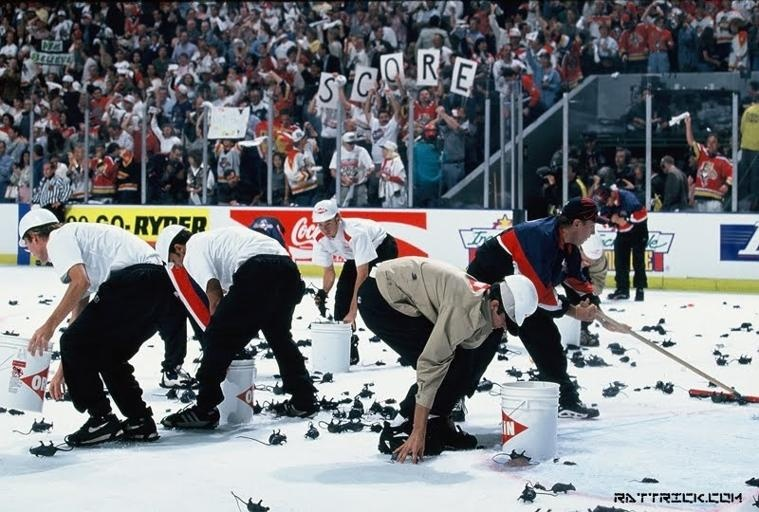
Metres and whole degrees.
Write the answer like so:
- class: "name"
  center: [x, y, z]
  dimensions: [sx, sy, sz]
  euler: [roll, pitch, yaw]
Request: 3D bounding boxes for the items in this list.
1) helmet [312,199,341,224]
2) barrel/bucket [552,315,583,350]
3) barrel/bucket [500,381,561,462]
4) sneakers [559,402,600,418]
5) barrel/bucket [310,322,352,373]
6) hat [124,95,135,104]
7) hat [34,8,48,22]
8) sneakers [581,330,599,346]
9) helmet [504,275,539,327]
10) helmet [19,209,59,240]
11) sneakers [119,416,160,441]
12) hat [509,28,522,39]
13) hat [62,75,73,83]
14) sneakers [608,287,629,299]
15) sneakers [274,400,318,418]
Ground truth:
- class: "helmet"
  center: [-0.819, -0.745, 19.943]
  dimensions: [0.364, 0.236, 0.474]
  euler: [-7, 12, 21]
- class: "barrel/bucket"
  center: [3.264, 1.255, 21.194]
  dimensions: [0.575, 0.595, 0.635]
  euler: [-4, -4, 4]
- class: "barrel/bucket"
  center: [1.845, 2.187, 17.038]
  dimensions: [1.064, 0.940, 0.941]
  euler: [0, -3, -5]
- class: "sneakers"
  center: [2.843, 2.184, 18.063]
  dimensions: [0.625, 0.252, 0.210]
  euler: [0, -2, 0]
- class: "barrel/bucket"
  center: [-0.896, 1.428, 20.127]
  dimensions: [0.827, 0.734, 0.749]
  euler: [0, -4, -8]
- class: "hat"
  center: [-5.843, -3.671, 29.296]
  dimensions: [0.181, 0.124, 0.246]
  euler: [37, 3, 40]
- class: "hat"
  center: [-9.469, -6.720, 35.207]
  dimensions: [0.330, 0.269, 0.410]
  euler: [20, -36, -11]
- class: "sneakers"
  center: [3.588, 1.371, 21.492]
  dimensions: [0.237, 0.114, 0.304]
  euler: [1, 6, -18]
- class: "helmet"
  center: [1.941, 0.518, 16.304]
  dimensions: [0.353, 0.599, 0.439]
  euler: [-23, 4, 14]
- class: "helmet"
  center: [-4.679, -0.456, 17.156]
  dimensions: [0.564, 0.395, 0.294]
  euler: [-2, 3, 2]
- class: "sneakers"
  center: [-3.257, 2.327, 17.016]
  dimensions: [0.532, 0.223, 0.256]
  euler: [4, -3, -1]
- class: "hat"
  center: [3.152, -5.152, 29.073]
  dimensions: [0.239, 0.256, 0.303]
  euler: [-1, -6, 9]
- class: "hat"
  center: [-8.295, -4.691, 33.342]
  dimensions: [0.253, 0.135, 0.243]
  euler: [0, 4, -29]
- class: "sneakers"
  center: [4.952, 0.748, 25.993]
  dimensions: [0.341, 0.132, 0.232]
  euler: [-1, 2, -17]
- class: "sneakers"
  center: [-1.215, 2.148, 18.011]
  dimensions: [0.468, 0.152, 0.281]
  euler: [1, -4, 15]
